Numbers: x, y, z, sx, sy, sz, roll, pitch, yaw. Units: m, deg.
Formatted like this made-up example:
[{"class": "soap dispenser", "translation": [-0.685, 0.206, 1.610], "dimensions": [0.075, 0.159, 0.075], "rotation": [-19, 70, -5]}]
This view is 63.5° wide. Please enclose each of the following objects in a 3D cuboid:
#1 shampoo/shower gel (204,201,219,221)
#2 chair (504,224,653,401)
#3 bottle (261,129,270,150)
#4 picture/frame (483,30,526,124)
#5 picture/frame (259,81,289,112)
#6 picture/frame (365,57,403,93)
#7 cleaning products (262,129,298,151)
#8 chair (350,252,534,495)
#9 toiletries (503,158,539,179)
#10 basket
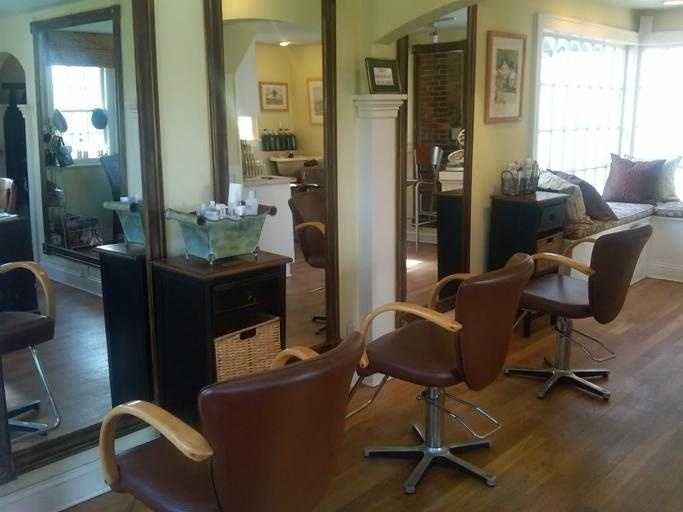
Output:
[{"class": "shampoo/shower gel", "translation": [-0.600, -0.219, 2.639], "dimensions": [0.087, 0.102, 0.088], "rotation": [0, 10, -4]}, {"class": "chair", "translation": [1.647, 0.211, 3.936], "dimensions": [0.983, 1.420, 0.993], "rotation": [10, 18, 41]}, {"class": "bottle", "translation": [-0.412, -0.627, 3.005], "dimensions": [0.048, 0.107, 0.018], "rotation": [-7, 14, -19]}, {"class": "picture/frame", "translation": [1.333, -1.499, 4.561], "dimensions": [0.048, 0.742, 0.724], "rotation": [11, 19, 35]}, {"class": "picture/frame", "translation": [-0.375, -0.868, 2.998], "dimensions": [0.176, 0.154, 0.016], "rotation": [-6, 9, -40]}, {"class": "picture/frame", "translation": [0.252, -1.119, 3.421], "dimensions": [0.029, 0.224, 0.290], "rotation": [1, 8, 38]}, {"class": "cleaning products", "translation": [-0.348, -0.644, 3.043], "dimensions": [0.123, 0.100, 0.042], "rotation": [-11, 21, -39]}, {"class": "chair", "translation": [0.500, 0.452, 3.090], "dimensions": [1.130, 1.348, 0.879], "rotation": [8, 15, 38]}, {"class": "toiletries", "translation": [1.512, -0.740, 4.671], "dimensions": [0.249, 0.258, 0.189], "rotation": [10, 23, 33]}, {"class": "basket", "translation": [-0.494, 0.438, 2.746], "dimensions": [0.349, 0.242, 0.197], "rotation": [-16, 22, -34]}]
